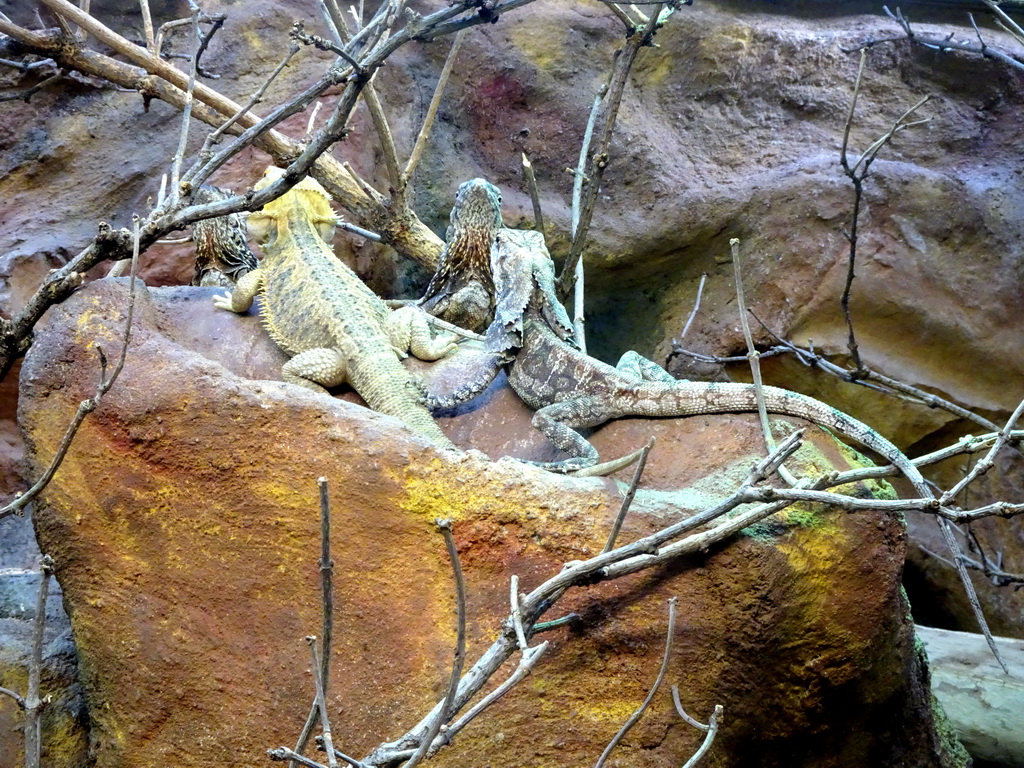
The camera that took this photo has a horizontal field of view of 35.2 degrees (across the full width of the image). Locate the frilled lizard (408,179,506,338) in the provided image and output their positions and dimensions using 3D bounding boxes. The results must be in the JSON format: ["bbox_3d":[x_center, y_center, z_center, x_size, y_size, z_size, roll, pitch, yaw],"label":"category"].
[{"bbox_3d":[-0.234,-0.698,8.935,0.434,0.821,0.445,5,14,33],"label":"frilled lizard"}]

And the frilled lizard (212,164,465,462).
[{"bbox_3d":[-0.931,-0.384,8.419,0.892,0.522,1.784,-6,38,-43],"label":"frilled lizard"}]
